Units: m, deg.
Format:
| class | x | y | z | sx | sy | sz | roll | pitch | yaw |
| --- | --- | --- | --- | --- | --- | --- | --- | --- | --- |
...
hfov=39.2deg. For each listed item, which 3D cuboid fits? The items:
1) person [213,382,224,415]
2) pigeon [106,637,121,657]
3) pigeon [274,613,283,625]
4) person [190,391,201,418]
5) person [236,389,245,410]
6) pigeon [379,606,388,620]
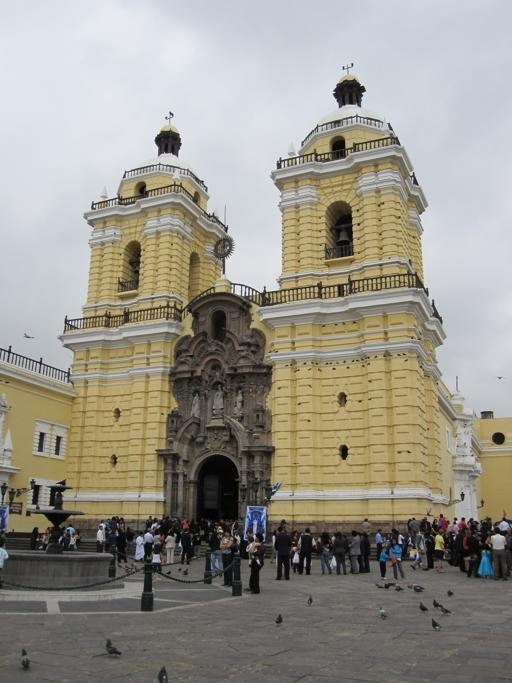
| class | x | y | z | sx | sy | sz | roll | pitch | yaw |
| --- | --- | --- | --- | --- | --- | --- | --- | --- | --- |
| person | -1.600 | 2.436 | 30.285 | 0.301 | 1.417 | 0.596 | 9 | -18 | -29 |
| pigeon | -1.609 | 3.439 | 8.102 | 0.157 | 0.204 | 0.313 | 4 | -29 | 10 |
| pigeon | 0.351 | 4.054 | 10.496 | 0.121 | 0.171 | 0.292 | 2 | -21 | 6 |
| person | -2.568 | 2.704 | 30.605 | 0.347 | 1.104 | 0.367 | 4 | -16 | -14 |
| person | -0.673 | 2.433 | 29.554 | 0.237 | 0.845 | 0.323 | 10 | -18 | -31 |
| pigeon | 1.960 | 4.193 | 11.103 | 0.158 | 0.186 | 0.335 | 2 | -18 | 6 |
